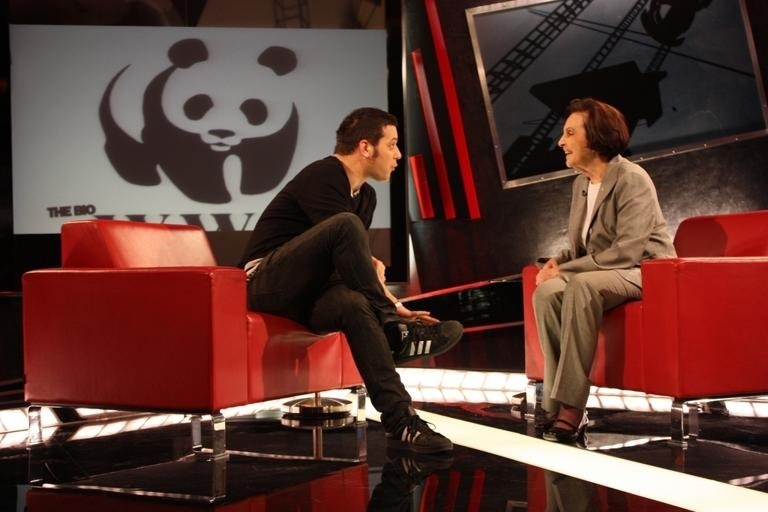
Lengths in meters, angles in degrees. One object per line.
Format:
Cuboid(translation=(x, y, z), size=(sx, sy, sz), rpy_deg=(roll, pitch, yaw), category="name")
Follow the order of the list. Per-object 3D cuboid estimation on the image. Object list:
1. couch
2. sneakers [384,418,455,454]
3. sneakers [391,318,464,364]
Cuboid(translation=(-0.778, 0.369, 3.270), size=(1.151, 1.253, 1.456), rpy_deg=(-2, -3, 28), category="couch")
Cuboid(translation=(0.137, 0.755, 2.926), size=(0.309, 0.138, 0.135), rpy_deg=(-2, -2, 27), category="sneakers")
Cuboid(translation=(0.164, 0.360, 2.959), size=(0.364, 0.134, 0.166), rpy_deg=(-10, -41, 13), category="sneakers")
